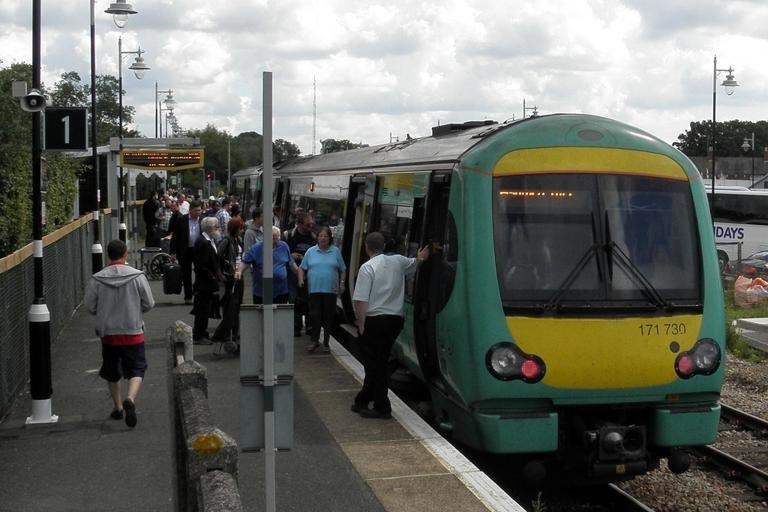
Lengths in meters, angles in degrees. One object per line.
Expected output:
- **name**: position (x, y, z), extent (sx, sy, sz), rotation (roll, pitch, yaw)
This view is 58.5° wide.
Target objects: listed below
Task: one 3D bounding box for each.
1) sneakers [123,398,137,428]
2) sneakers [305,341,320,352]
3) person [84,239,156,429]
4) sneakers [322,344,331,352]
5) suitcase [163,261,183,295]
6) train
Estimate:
- **sneakers**: position (-3.323, 2.046, 9.007), extent (0.167, 0.452, 0.191), rotation (-1, 9, 2)
- **sneakers**: position (-1.348, 1.716, 12.938), extent (0.112, 0.239, 0.337), rotation (2, 3, 34)
- **person**: position (-3.564, 1.060, 9.280), extent (0.888, 2.438, 0.640), rotation (2, 6, 30)
- **sneakers**: position (-1.113, 1.774, 13.048), extent (0.116, 0.155, 0.400), rotation (0, -4, -6)
- **suitcase**: position (-4.274, 0.502, 13.697), extent (0.419, 0.606, 0.439), rotation (-3, -1, 45)
- **train**: position (1.669, 0.253, 9.799), extent (2.911, 4.607, 5.233), rotation (-3, 6, -24)
